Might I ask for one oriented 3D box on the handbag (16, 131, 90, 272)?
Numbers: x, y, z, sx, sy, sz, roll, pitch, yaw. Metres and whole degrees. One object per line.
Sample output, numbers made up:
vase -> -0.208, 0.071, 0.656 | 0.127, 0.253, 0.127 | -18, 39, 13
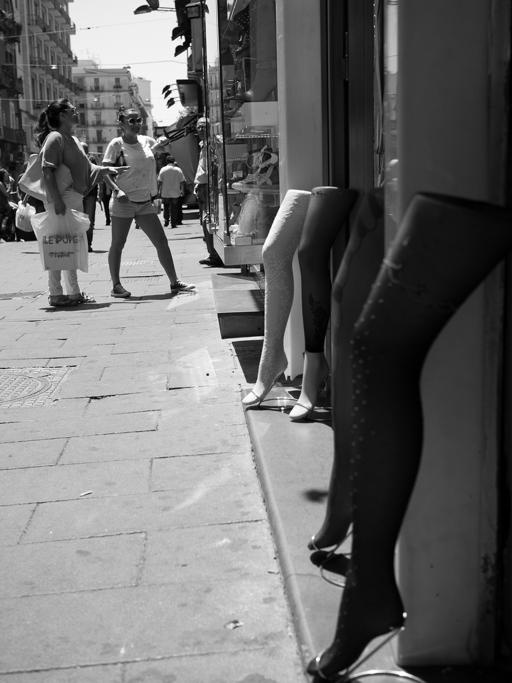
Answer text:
handbag -> -2.226, -1.551, 7.453 | 0.773, 1.530, 0.455 | -3, 9, -13

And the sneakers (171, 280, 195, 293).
sneakers -> -0.933, -0.695, 8.289 | 0.332, 0.145, 0.118 | -4, 24, -4

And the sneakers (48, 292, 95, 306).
sneakers -> -2.141, -0.482, 7.746 | 0.443, 0.126, 0.208 | -6, 11, -21

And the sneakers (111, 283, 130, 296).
sneakers -> -1.651, -0.623, 8.155 | 0.114, 0.141, 0.320 | -7, 12, -32
